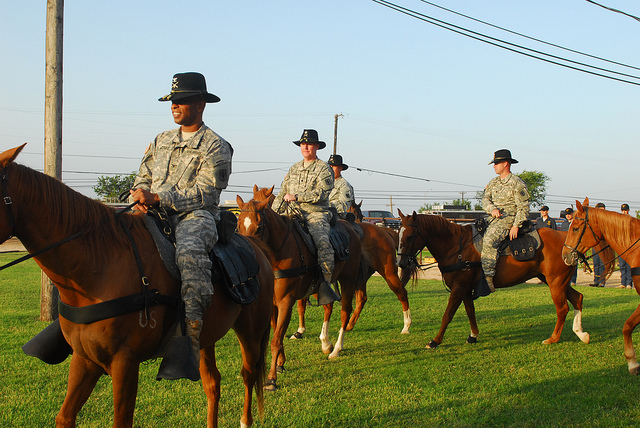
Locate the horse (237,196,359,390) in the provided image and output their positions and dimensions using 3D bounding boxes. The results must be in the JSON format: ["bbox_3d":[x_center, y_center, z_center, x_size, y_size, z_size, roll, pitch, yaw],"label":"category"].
[{"bbox_3d":[-0.352,1.240,12.147,1.281,3.033,3.219,4,6,25],"label":"horse"}]

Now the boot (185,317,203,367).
[{"bbox_3d":[-1.633,1.611,8.437,0.220,0.593,0.456,0,6,-10],"label":"boot"}]

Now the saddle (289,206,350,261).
[{"bbox_3d":[0.134,0.412,12.729,0.643,1.019,1.170,6,7,39],"label":"saddle"}]

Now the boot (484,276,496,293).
[{"bbox_3d":[3.607,1.475,13.663,0.249,0.336,0.144,-3,7,-35],"label":"boot"}]

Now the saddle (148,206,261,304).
[{"bbox_3d":[-1.448,0.555,8.982,1.485,1.342,0.568,-2,7,-27],"label":"saddle"}]

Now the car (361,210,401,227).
[{"bbox_3d":[4.227,0.289,43.975,1.747,1.371,3.129,-1,-3,-18],"label":"car"}]
